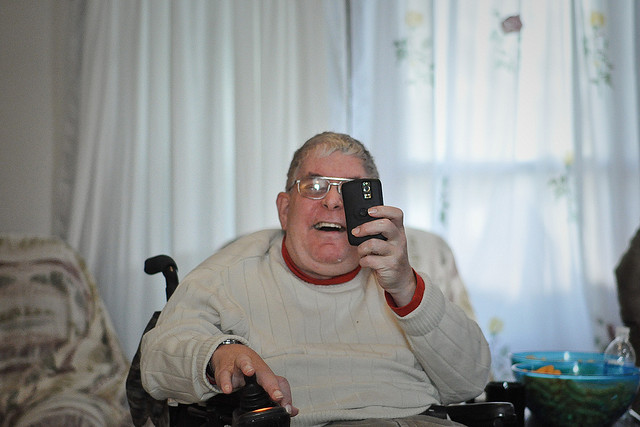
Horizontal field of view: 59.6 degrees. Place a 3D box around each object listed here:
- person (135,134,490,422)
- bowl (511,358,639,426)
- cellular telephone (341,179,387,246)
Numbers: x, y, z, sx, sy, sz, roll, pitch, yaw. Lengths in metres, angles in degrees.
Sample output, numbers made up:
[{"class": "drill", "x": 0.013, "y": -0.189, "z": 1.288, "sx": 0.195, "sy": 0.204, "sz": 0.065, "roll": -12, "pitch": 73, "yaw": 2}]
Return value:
[{"class": "person", "x": -0.044, "y": 0.180, "z": 2.491, "sx": 0.869, "sy": 0.697, "sz": 1.484, "roll": 8, "pitch": 17, "yaw": -9}, {"class": "bowl", "x": 1.027, "y": 0.692, "z": 2.223, "sx": 0.305, "sy": 0.141, "sz": 0.320, "roll": -3, "pitch": -7, "yaw": 0}, {"class": "cellular telephone", "x": 0.161, "y": -0.010, "z": 2.080, "sx": 0.164, "sy": 0.249, "sz": 0.083, "roll": -1, "pitch": -3, "yaw": 0}]
